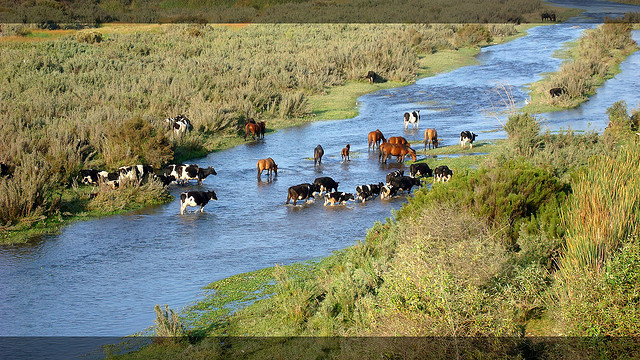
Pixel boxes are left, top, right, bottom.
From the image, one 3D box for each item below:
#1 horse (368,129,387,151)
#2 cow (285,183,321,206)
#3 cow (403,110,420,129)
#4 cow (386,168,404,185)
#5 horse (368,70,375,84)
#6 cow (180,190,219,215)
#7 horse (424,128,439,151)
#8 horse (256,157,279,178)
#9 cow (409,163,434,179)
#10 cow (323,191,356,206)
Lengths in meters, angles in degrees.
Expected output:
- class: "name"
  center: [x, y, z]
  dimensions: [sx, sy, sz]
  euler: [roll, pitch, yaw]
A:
- class: "horse"
  center: [3.336, -2.206, 43.959]
  dimensions: [0.890, 2.075, 1.240]
  euler: [1, 59, 2]
- class: "cow"
  center: [-0.743, 0.701, 36.682]
  dimensions: [1.980, 1.009, 0.547]
  euler: [-10, 9, -38]
- class: "cow"
  center: [5.898, -3.817, 48.224]
  dimensions: [0.911, 1.795, 1.286]
  euler: [4, 59, 4]
- class: "cow"
  center: [3.896, -0.178, 38.164]
  dimensions: [0.380, 0.789, 1.654]
  euler: [15, 26, 31]
- class: "horse"
  center: [4.300, -8.602, 62.836]
  dimensions: [0.540, 0.994, 0.818]
  euler: [3, 59, 4]
- class: "cow"
  center: [-5.721, 1.058, 35.478]
  dimensions: [2.107, 1.106, 0.595]
  euler: [-1, 5, -43]
- class: "horse"
  center: [6.492, -2.257, 43.698]
  dimensions: [0.806, 1.456, 1.077]
  euler: [8, 59, 7]
- class: "horse"
  center: [-2.797, -0.543, 39.636]
  dimensions: [1.057, 1.227, 0.832]
  euler: [-6, 59, -2]
- class: "cow"
  center: [5.314, -0.425, 39.260]
  dimensions: [1.256, 0.851, 0.706]
  euler: [-8, 59, -4]
- class: "cow"
  center: [0.908, 0.870, 36.348]
  dimensions: [1.786, 0.875, 0.547]
  euler: [-1, 16, -3]
